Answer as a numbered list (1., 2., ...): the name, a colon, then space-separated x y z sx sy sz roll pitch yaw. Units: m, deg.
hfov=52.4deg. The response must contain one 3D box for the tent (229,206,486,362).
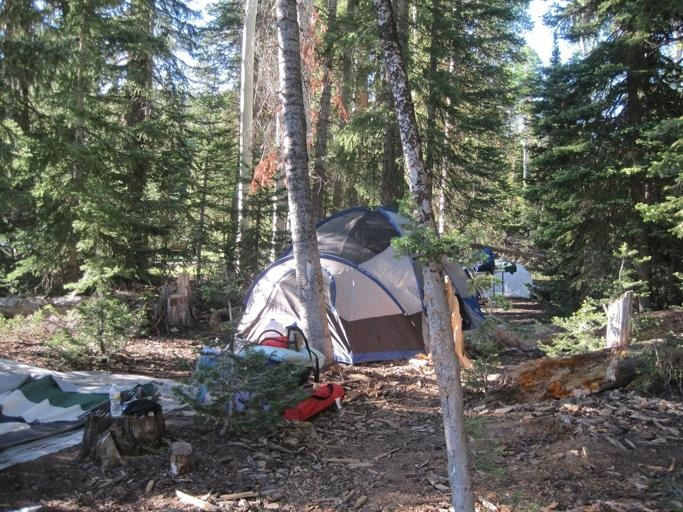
1. tent: 0.832 0.831 18.362 3.908 3.025 4.914 -4 1 41

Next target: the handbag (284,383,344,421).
1. handbag: -0.522 2.982 14.192 0.552 0.290 1.005 5 18 41

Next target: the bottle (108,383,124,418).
1. bottle: -4.115 2.620 12.583 0.203 0.565 0.394 -1 -5 -20

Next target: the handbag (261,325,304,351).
1. handbag: -1.274 1.845 15.526 0.708 0.721 0.580 5 -2 -2
